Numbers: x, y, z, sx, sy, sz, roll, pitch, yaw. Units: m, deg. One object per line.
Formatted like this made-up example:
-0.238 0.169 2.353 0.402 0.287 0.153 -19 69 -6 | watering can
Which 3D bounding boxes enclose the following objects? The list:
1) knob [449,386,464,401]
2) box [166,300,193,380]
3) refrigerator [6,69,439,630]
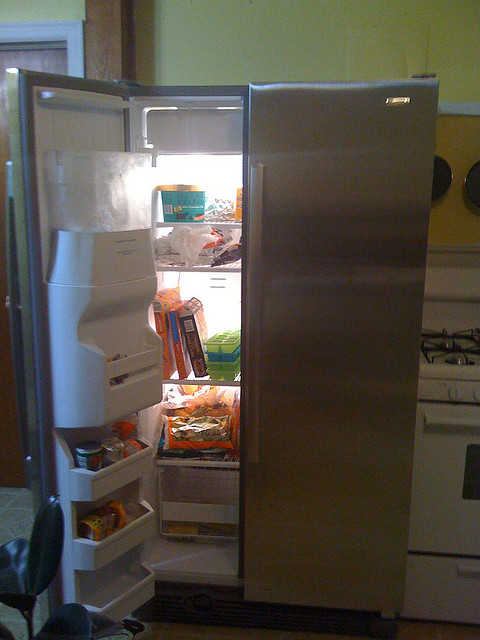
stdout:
0.674 0.224 1.626 0.036 0.045 0.010 0 1 11 | knob
-0.204 0.062 1.780 0.033 0.237 0.089 3 15 11 | box
-0.024 0.159 1.647 1.141 1.712 0.481 -2 11 -10 | refrigerator
